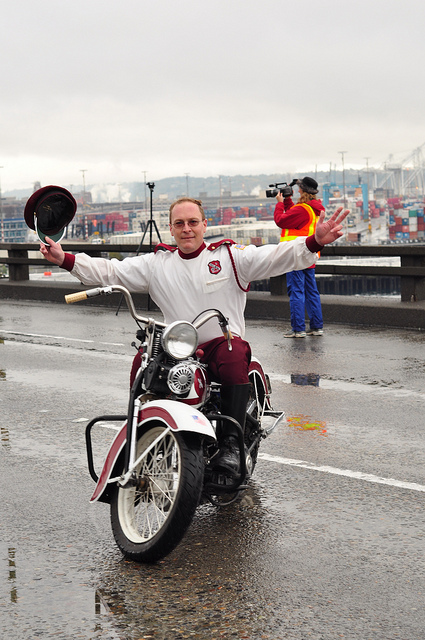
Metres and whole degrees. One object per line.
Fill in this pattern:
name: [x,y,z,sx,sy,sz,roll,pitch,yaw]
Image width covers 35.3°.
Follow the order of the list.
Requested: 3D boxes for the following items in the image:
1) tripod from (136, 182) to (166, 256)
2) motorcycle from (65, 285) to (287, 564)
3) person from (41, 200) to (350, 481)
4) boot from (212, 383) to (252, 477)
tripod: [-1.422,-2.280,15.383,0.835,1.675,0.750,9,12,31]
motorcycle: [-0.348,0.435,3.361,1.107,1.206,1.416,0,3,12]
person: [-0.081,0.058,3.388,1.559,1.277,0.558,-4,-1,14]
boot: [0.078,0.495,3.110,0.155,0.463,0.371,-5,-11,20]
